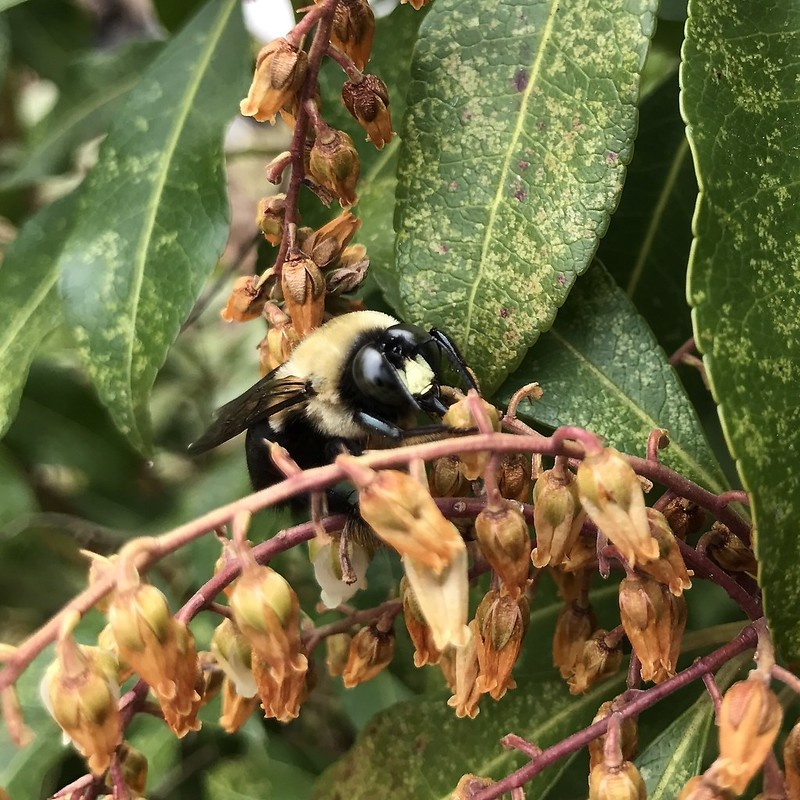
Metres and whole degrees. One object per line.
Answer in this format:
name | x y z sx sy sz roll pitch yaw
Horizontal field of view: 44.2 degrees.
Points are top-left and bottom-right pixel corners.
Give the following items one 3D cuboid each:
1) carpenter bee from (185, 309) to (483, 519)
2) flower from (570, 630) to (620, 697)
carpenter bee | -0.061 -0.009 1.066 0.348 0.140 0.248 -7 23 44
flower | 0.182 0.271 0.996 0.044 0.084 0.037 2 61 -10
